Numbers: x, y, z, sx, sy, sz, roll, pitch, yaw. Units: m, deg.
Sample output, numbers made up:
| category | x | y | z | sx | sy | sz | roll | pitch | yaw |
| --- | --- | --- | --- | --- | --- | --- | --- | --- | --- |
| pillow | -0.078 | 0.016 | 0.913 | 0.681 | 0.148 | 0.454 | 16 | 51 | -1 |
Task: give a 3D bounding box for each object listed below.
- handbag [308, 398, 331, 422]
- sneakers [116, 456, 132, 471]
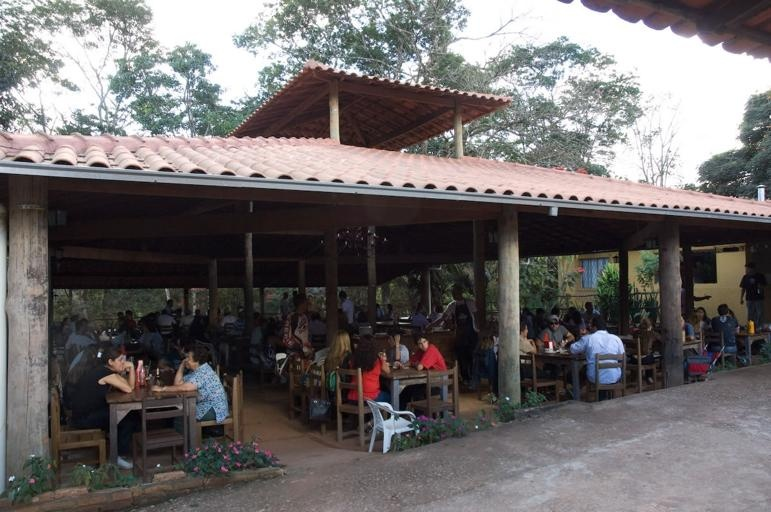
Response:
| category | x | y | z | sx | sy | sz | roll | pitch | yaw |
| --- | --- | --- | --- | --- | --- | --- | --- | --- | --- |
| handbag | -1.084 | 2.565 | 10.234 | 0.347 | 0.343 | 0.232 | -3 | 5 | -5 |
| sneakers | -3.788 | 3.006 | 8.906 | 0.342 | 0.135 | 0.134 | 8 | 0 | 27 |
